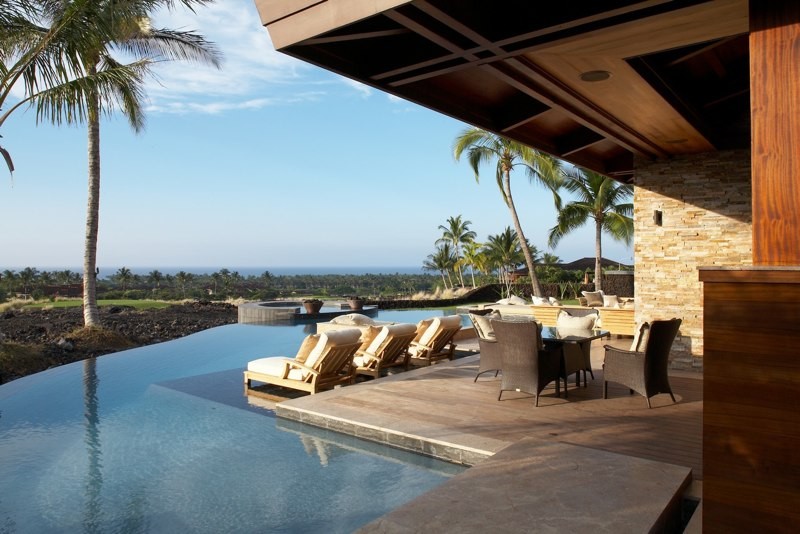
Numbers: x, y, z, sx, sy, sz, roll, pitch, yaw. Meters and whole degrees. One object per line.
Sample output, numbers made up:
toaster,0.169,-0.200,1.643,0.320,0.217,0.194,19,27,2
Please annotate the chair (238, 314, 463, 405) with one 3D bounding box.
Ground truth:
chair,-0.845,1.561,8.852,3.370,1.247,1.523,2,-1,-42

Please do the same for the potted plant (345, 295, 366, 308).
potted plant,-1.917,1.546,20.840,0.772,0.323,0.626,-1,1,-3
